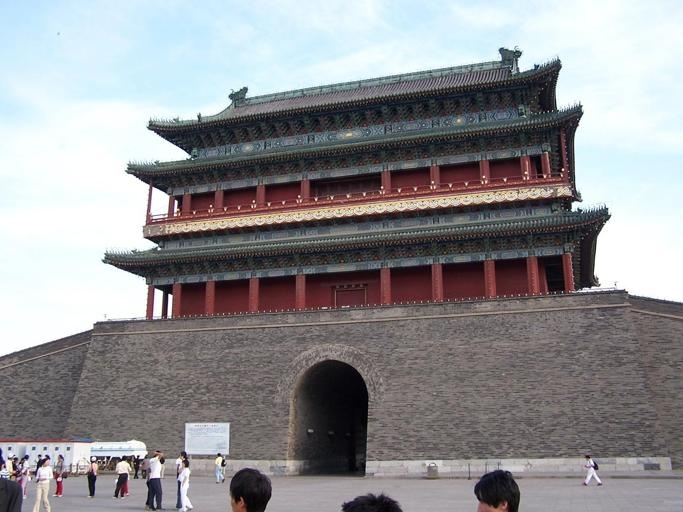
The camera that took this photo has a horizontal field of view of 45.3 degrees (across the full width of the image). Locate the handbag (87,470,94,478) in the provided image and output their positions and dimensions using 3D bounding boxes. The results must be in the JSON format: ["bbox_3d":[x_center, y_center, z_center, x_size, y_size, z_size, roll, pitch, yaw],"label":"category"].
[{"bbox_3d":[-8.402,7.348,27.528,0.338,0.192,0.268,1,-25,-29],"label":"handbag"}]

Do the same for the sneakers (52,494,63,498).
[{"bbox_3d":[-9.717,8.223,27.952,0.313,0.104,0.089,-9,-36,13],"label":"sneakers"}]
